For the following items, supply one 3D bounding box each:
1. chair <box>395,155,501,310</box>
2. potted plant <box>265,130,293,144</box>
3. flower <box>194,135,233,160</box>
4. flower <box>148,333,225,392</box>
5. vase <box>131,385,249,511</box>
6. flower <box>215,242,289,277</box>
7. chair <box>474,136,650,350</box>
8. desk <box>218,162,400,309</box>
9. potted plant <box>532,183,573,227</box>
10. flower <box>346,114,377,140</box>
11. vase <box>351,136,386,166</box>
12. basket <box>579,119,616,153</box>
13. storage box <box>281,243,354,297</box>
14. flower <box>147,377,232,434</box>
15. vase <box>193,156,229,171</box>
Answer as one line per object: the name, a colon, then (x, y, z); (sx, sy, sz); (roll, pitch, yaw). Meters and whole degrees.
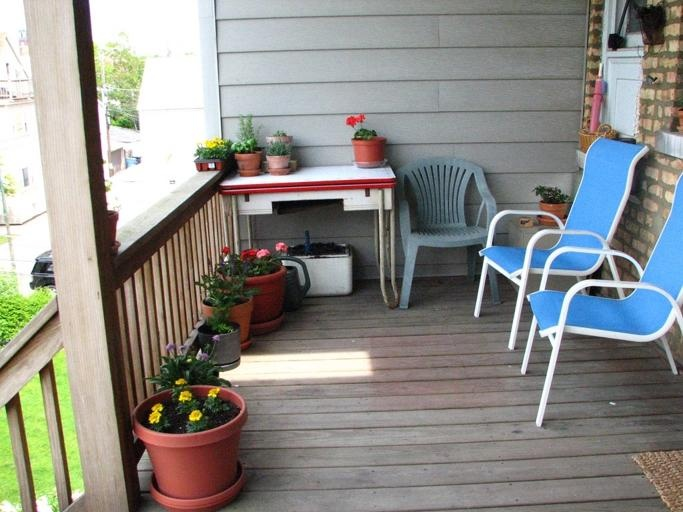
chair: (0.819, -0.163, 3.992); (0.838, 0.888, 0.801); (8, 25, 15)
potted plant: (-0.481, -0.860, 4.039); (0.163, 0.059, 0.157); (3, 6, 41)
flower: (-0.898, -0.741, 3.807); (0.227, 0.139, 0.294); (-5, 20, -6)
flower: (-0.652, 0.488, 2.406); (0.286, 0.200, 0.305); (-2, -5, 24)
vase: (-0.580, 0.785, 2.268); (0.486, 0.312, 0.465); (1, 12, 4)
flower: (-0.582, 0.034, 3.501); (0.336, 0.159, 0.278); (0, 13, 4)
chair: (1.307, -0.110, 3.343); (0.839, 1.104, 0.735); (-10, 17, -8)
desk: (-0.206, -0.129, 4.114); (1.231, 0.875, 0.736); (-2, 11, 3)
potted plant: (1.604, -0.373, 4.090); (0.252, 0.244, 0.259); (9, 20, 29)
flower: (0.147, -0.956, 4.028); (0.240, 0.174, 0.243); (-2, 20, 3)
vase: (0.208, -0.755, 3.976); (0.229, 0.177, 0.233); (-2, 8, -1)
basket: (1.758, -0.825, 3.770); (0.205, 0.199, 0.230); (-6, 19, -10)
storage box: (-0.146, 0.099, 4.178); (0.486, 0.294, 0.322); (-1, 22, 0)
flower: (-0.596, 0.623, 2.167); (0.241, 0.072, 0.224); (2, 14, -6)
vase: (-0.906, -0.619, 3.692); (0.185, 0.091, 0.095); (-5, 20, -6)
